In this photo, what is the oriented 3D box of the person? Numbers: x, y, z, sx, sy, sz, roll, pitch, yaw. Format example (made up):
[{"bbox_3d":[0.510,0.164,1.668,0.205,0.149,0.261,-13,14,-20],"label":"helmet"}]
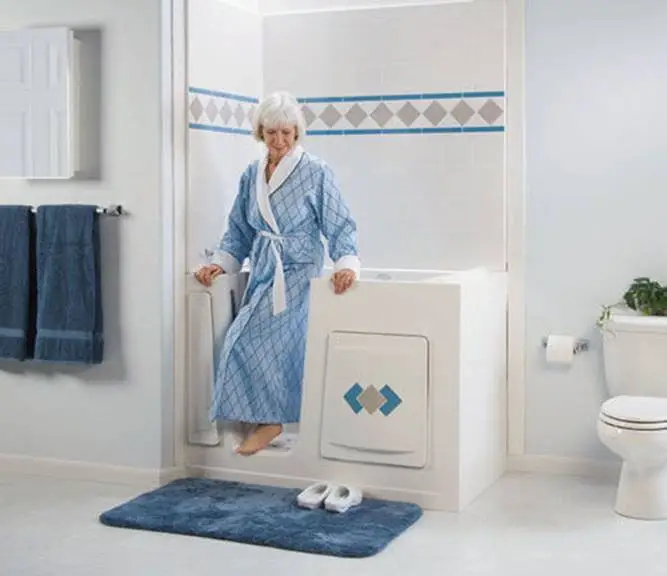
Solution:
[{"bbox_3d":[-0.232,-0.117,2.593,0.610,1.263,0.342,-3,7,-13],"label":"person"}]

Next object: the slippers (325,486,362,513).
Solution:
[{"bbox_3d":[0.030,0.723,2.263,0.058,0.034,0.094,-1,-1,24],"label":"slippers"}]
